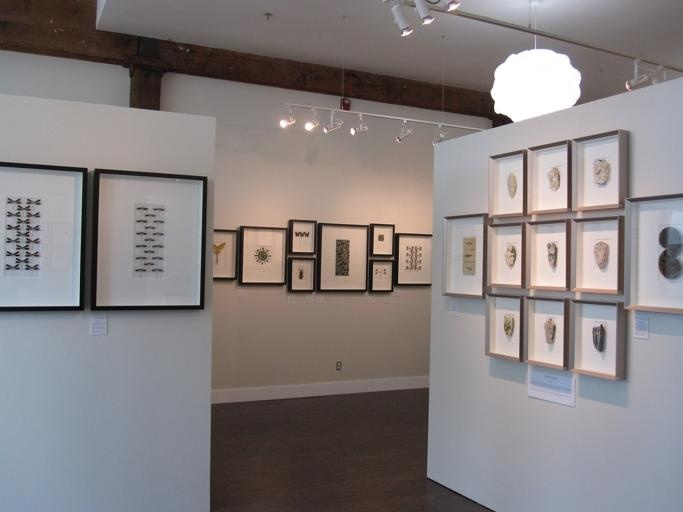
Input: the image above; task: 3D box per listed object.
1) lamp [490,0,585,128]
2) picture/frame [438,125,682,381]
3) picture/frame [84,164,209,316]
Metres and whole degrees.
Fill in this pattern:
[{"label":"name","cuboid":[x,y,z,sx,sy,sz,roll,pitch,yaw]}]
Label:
[{"label":"lamp","cuboid":[1.707,-1.603,4.785,0.630,1.403,0.678,1,1,-9]},{"label":"picture/frame","cuboid":[1.810,-0.010,4.239,0.225,2.059,2.119,2,-2,-36]},{"label":"picture/frame","cuboid":[-1.574,-0.129,4.141,1.022,1.436,0.058,1,-2,-23]}]
